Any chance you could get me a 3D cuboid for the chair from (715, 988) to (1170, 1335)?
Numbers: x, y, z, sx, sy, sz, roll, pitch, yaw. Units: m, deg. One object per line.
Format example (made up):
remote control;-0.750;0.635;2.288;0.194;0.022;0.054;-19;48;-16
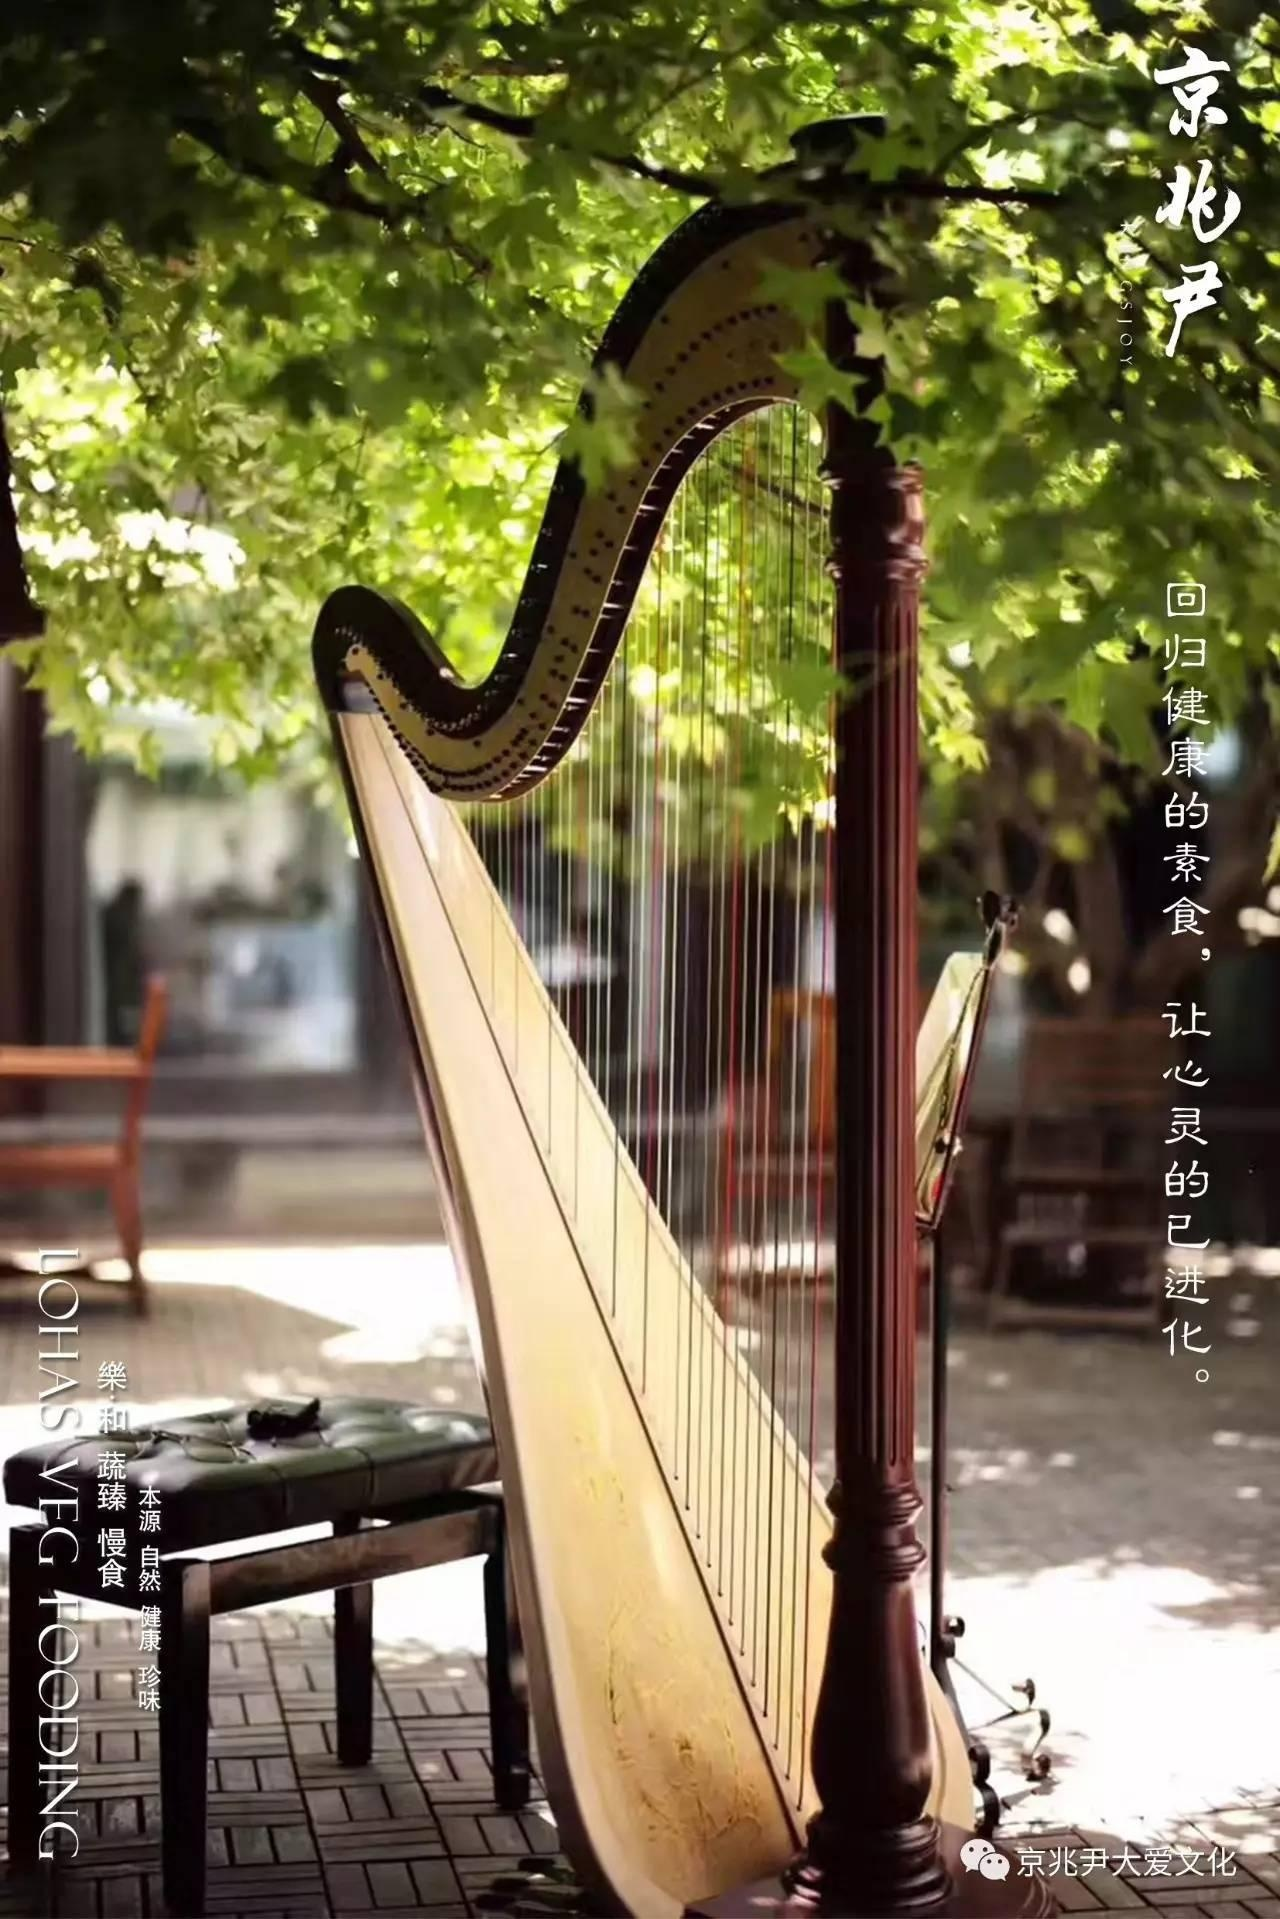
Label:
chair;0.989;0.613;5.230;1.333;1.224;0.703;5;-8;-33
